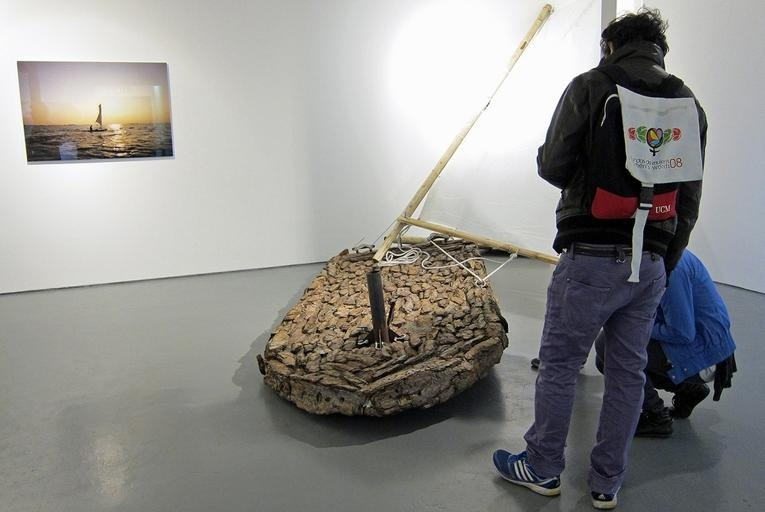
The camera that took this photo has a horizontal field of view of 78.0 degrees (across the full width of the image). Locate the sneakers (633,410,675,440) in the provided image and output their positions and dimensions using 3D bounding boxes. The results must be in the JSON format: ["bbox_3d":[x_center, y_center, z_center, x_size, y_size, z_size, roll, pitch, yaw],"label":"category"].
[{"bbox_3d":[1.468,0.907,2.556,0.251,0.111,0.108,-1,2,-3],"label":"sneakers"}]

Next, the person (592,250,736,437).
[{"bbox_3d":[1.576,0.393,2.643,0.666,1.098,0.503,1,-7,30],"label":"person"}]

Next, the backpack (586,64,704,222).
[{"bbox_3d":[1.127,-0.482,2.103,0.427,0.632,0.358,0,9,6],"label":"backpack"}]

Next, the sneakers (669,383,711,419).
[{"bbox_3d":[1.714,0.814,2.648,0.156,0.222,0.076,38,41,-9],"label":"sneakers"}]
